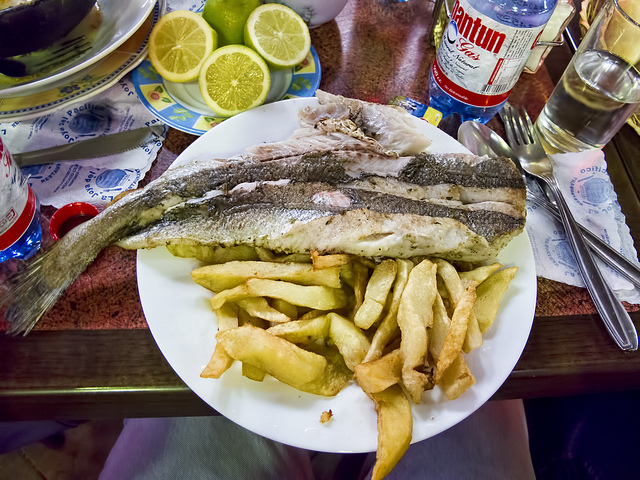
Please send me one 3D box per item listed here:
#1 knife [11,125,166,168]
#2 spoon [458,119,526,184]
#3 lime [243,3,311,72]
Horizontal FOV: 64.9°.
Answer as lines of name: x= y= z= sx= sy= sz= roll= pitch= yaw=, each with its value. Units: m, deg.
knife: x=-0.940 y=-0.371 z=2.035 sx=0.826 sy=0.068 sz=0.123 roll=-9 pitch=72 yaw=-6
spoon: x=0.708 y=-0.360 z=1.990 sx=0.075 sy=0.539 sz=0.164 roll=-30 pitch=109 yaw=-14
lime: x=-0.177 y=-0.883 z=2.165 sx=0.272 sy=0.116 sz=0.278 roll=-22 pitch=89 yaw=-11
